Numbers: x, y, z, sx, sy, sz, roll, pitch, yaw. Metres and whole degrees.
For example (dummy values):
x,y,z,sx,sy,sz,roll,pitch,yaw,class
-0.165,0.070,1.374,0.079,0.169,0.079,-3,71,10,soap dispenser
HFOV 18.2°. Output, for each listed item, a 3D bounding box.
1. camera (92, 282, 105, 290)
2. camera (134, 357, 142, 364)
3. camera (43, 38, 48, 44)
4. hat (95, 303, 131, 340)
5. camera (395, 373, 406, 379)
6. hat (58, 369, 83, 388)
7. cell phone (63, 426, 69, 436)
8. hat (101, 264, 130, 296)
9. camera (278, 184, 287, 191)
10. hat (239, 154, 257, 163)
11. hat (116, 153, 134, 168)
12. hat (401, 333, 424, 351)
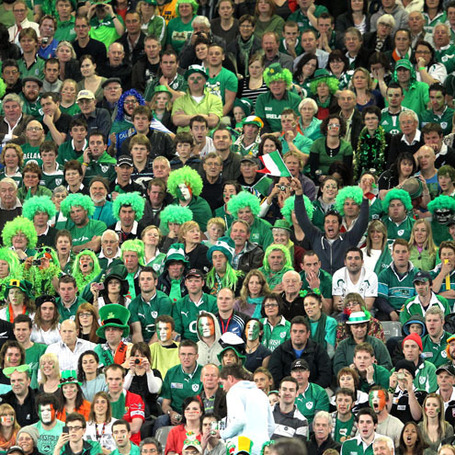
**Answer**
x,y,z,sx,sy,sz,roll,pitch,yaw,class
-1.701,0.740,18.429,0.088,0.058,0.123,-11,45,-2,camera
-1.087,1.568,16.995,0.065,0.070,0.044,-3,26,0,camera
-3.175,-3.288,24.662,0.131,0.088,0.093,0,5,-8,camera
-1.435,1.180,17.751,0.372,0.457,0.329,-3,26,0,hat
1.983,1.676,16.262,0.074,0.067,0.053,5,-14,7,camera
-1.880,1.771,16.802,0.211,0.160,0.308,-6,26,-6,hat
-1.817,2.236,15.871,0.062,0.065,0.015,-12,-7,32,cell phone
-1.461,0.637,18.501,0.298,0.393,0.157,4,-13,-5,hat
0.779,-0.596,20.170,0.112,0.068,0.097,-7,26,-9,camera
0.315,-1.031,20.734,0.243,0.116,0.183,-7,26,-8,hat
-1.517,-1.013,20.928,0.255,0.197,0.360,5,0,-6,hat
2.218,1.334,17.075,0.170,0.235,0.200,-4,51,22,hat
